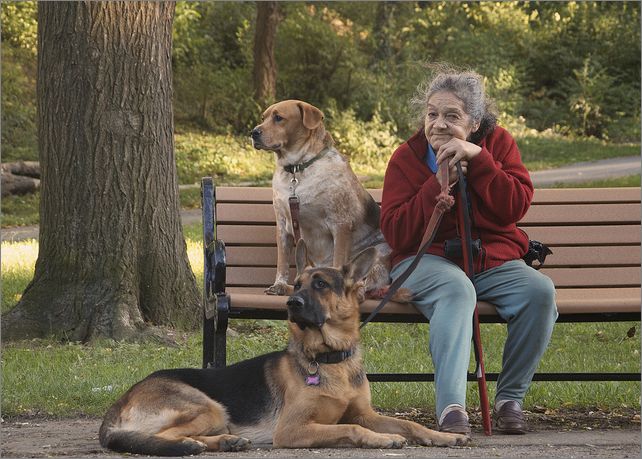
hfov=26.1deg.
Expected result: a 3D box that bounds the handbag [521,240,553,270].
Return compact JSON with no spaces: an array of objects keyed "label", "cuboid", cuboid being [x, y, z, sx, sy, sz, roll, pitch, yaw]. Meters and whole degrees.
[{"label":"handbag","cuboid":[3.819,0.395,24.372,0.432,0.515,0.367,17,2,-11]}]
